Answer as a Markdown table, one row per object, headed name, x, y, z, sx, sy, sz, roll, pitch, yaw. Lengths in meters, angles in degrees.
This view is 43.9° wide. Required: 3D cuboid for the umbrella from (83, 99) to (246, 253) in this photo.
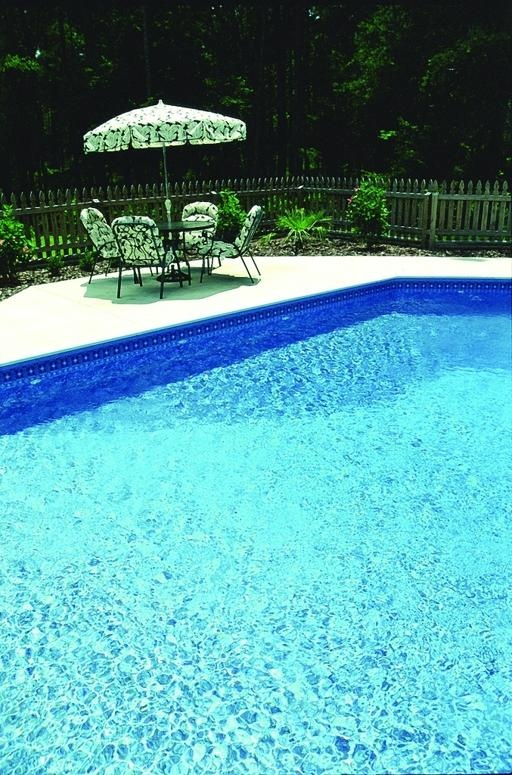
| name | x | y | z | sx | sy | sz | roll | pitch | yaw |
| --- | --- | --- | --- | --- | --- | --- | --- | --- | --- |
| umbrella | -1.214 | -2.975 | 9.506 | 2.289 | 2.010 | 2.313 | -3 | 23 | -3 |
